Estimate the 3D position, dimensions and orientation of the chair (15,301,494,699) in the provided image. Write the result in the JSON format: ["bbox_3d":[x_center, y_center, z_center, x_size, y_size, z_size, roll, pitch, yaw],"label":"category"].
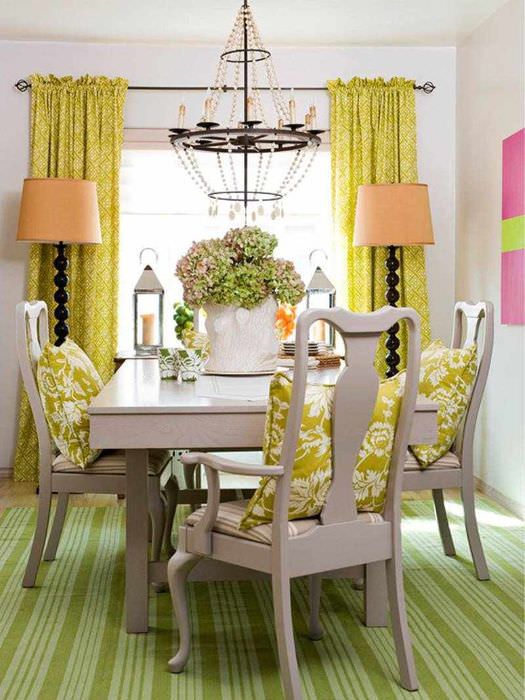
[{"bbox_3d":[-0.027,0.444,1.657,1.045,0.740,0.986,-1,4,-12],"label":"chair"}]

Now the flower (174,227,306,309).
[{"bbox_3d":[-0.063,-0.250,1.815,0.316,0.277,0.247,-3,14,-14],"label":"flower"}]

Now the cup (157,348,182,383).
[{"bbox_3d":[-0.300,0.053,1.934,0.086,0.106,0.092,1,6,0],"label":"cup"}]
